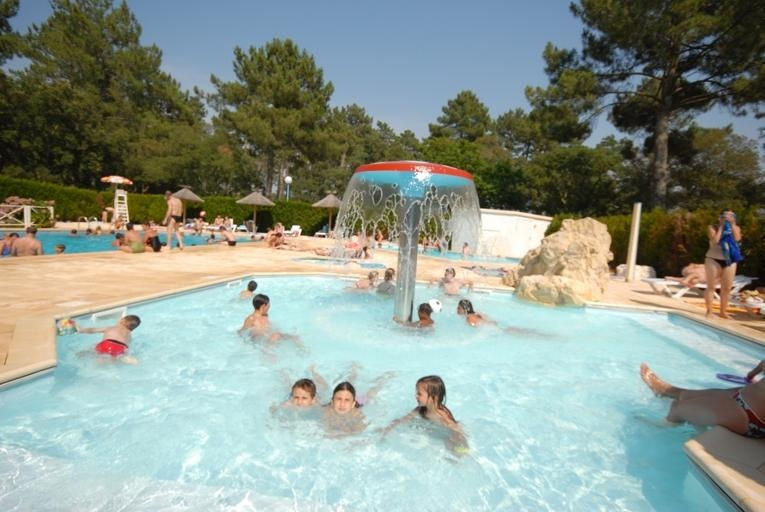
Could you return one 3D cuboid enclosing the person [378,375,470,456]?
[{"bbox_3d":[0.769,2.498,7.489,1.223,1.107,0.479,3,3,13],"label":"person"}]

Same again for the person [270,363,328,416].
[{"bbox_3d":[-1.340,2.366,7.957,0.857,0.499,1.287,3,6,-5],"label":"person"}]

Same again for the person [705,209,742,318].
[{"bbox_3d":[8.293,0.204,11.407,0.820,1.921,0.650,0,4,-45],"label":"person"}]

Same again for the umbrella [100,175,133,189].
[{"bbox_3d":[-19.810,-5.481,34.551,2.101,0.916,2.212,6,-1,-4],"label":"umbrella"}]

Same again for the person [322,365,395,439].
[{"bbox_3d":[-0.508,2.463,8.092,0.621,0.707,1.470,5,9,14],"label":"person"}]
